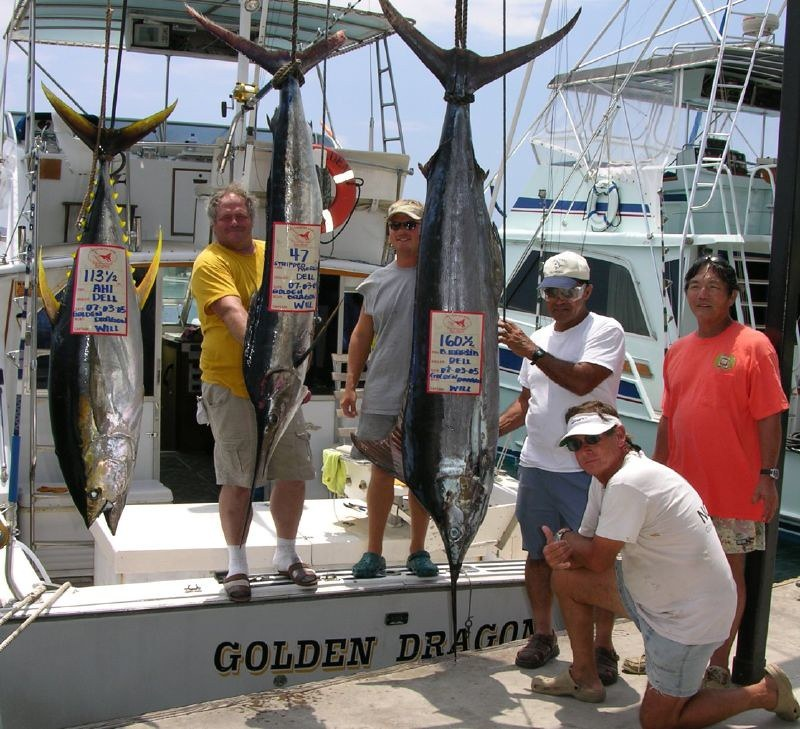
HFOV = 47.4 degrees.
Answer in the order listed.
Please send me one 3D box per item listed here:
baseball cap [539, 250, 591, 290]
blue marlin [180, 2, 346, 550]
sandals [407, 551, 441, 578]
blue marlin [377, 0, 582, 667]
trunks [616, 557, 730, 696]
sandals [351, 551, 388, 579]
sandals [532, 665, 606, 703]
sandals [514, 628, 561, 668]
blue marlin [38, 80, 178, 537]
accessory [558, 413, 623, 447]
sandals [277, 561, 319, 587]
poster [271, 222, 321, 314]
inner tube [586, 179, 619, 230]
[{"bbox_3d":[0.647,-0.364,3.511,0.116,0.101,0.180,1,8,25],"label":"baseball cap"},{"bbox_3d":[-0.423,-0.323,2.948,0.338,1.444,0.232,1,6,-6],"label":"blue marlin"},{"bbox_3d":[0.095,0.851,3.888,0.064,0.072,0.167,-1,-7,-18],"label":"sandals"},{"bbox_3d":[0.172,-0.115,2.793,0.575,1.983,0.197,1,1,-11],"label":"blue marlin"},{"bbox_3d":[0.871,0.844,2.979,0.373,0.389,0.161,11,-12,-1],"label":"trunks"},{"bbox_3d":[-0.119,0.854,3.853,0.069,0.075,0.164,-5,-13,27],"label":"sandals"},{"bbox_3d":[0.591,1.143,3.260,0.285,0.123,0.099,8,-6,22],"label":"sandals"},{"bbox_3d":[0.527,1.110,3.509,0.078,0.089,0.203,-6,-9,35],"label":"sandals"},{"bbox_3d":[-0.952,-0.144,2.990,0.375,1.461,0.379,-1,6,-23],"label":"blue marlin"},{"bbox_3d":[0.619,0.199,2.970,0.108,0.058,0.162,-25,-10,31],"label":"accessory"},{"bbox_3d":[-0.399,0.838,3.658,0.070,0.054,0.174,-3,2,-39],"label":"sandals"},{"bbox_3d":[-0.325,-0.307,2.904,0.176,0.283,0.057,-3,7,-35],"label":"poster"},{"bbox_3d":[2.290,-1.788,10.254,0.137,0.519,0.455,5,17,-29],"label":"inner tube"}]
